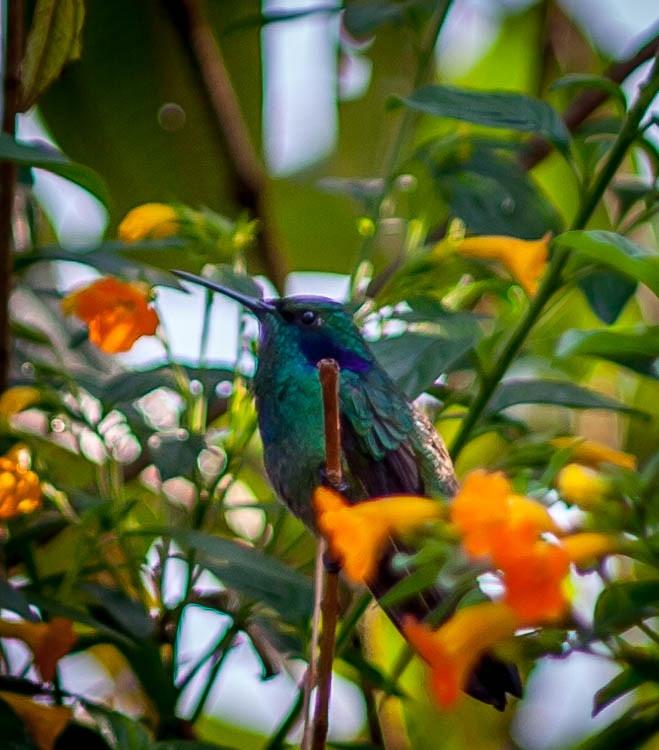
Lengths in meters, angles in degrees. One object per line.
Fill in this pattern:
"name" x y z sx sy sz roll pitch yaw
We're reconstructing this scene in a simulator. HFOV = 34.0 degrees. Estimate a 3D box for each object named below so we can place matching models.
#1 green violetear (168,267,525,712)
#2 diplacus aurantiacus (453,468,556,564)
"green violetear" 0.018 0.046 0.803 0.301 0.204 0.324 -5 -84 -15
"diplacus aurantiacus" 0.102 0.080 0.618 0.046 0.041 0.055 1 -80 -2
